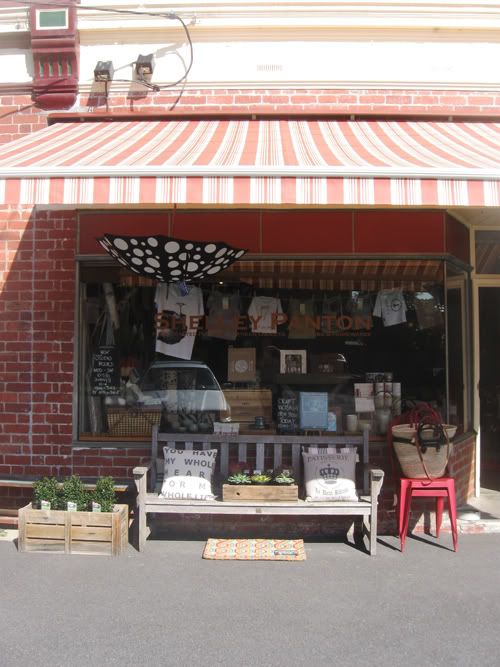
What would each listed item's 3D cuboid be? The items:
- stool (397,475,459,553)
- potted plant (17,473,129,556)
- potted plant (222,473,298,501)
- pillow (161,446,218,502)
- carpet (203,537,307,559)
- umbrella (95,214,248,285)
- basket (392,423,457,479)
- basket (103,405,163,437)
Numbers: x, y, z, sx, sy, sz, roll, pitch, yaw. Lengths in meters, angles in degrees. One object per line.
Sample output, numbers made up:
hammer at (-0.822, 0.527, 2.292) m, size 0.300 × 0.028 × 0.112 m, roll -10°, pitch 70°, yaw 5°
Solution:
stool at (1.640, 1.692, 6.902) m, size 0.671 × 0.677 × 0.655 m, roll -2°, pitch -7°, yaw 6°
potted plant at (-1.621, 1.599, 6.615) m, size 0.742 × 0.444 × 0.745 m, roll 0°, pitch -3°, yaw -3°
potted plant at (0.071, 1.395, 6.710) m, size 0.666 × 0.212 × 0.423 m, roll 0°, pitch 4°, yaw -5°
pillow at (-0.573, 1.317, 6.786) m, size 0.459 × 0.421 × 0.135 m, roll -2°, pitch -25°, yaw 3°
carpet at (0.040, 1.954, 6.599) m, size 0.913 × 0.055 × 0.620 m, roll 0°, pitch 4°, yaw 3°
umbrella at (-0.728, -0.700, 6.760) m, size 1.260 × 0.412 × 0.627 m, roll -1°, pitch 4°, yaw -11°
basket at (1.607, 1.012, 6.863) m, size 0.654 × 0.563 × 0.476 m, roll 1°, pitch -3°, yaw 8°
basket at (-1.207, 0.910, 7.539) m, size 0.471 × 0.257 × 0.311 m, roll 1°, pitch -14°, yaw 0°
